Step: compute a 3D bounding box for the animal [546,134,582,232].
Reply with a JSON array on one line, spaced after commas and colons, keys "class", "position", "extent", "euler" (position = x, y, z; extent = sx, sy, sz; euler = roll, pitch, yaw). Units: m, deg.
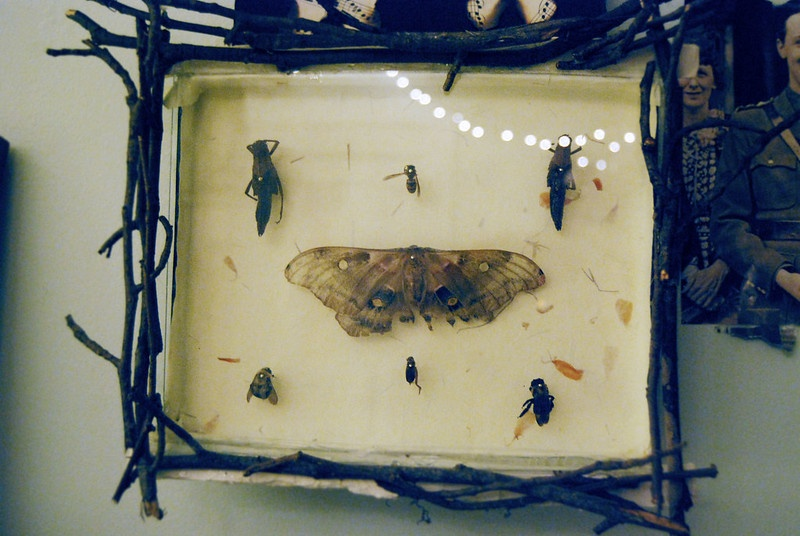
[{"class": "animal", "position": [0.801, -0.419, 6.734], "extent": [0.151, 0.451, 0.127], "euler": [6, 6, 22]}]

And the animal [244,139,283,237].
[{"class": "animal", "position": [-0.682, -0.400, 6.777], "extent": [0.190, 0.460, 0.142], "euler": [2, 4, 1]}]

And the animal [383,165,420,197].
[{"class": "animal", "position": [0.049, -0.445, 6.908], "extent": [0.178, 0.130, 0.052], "euler": [15, 11, 4]}]
